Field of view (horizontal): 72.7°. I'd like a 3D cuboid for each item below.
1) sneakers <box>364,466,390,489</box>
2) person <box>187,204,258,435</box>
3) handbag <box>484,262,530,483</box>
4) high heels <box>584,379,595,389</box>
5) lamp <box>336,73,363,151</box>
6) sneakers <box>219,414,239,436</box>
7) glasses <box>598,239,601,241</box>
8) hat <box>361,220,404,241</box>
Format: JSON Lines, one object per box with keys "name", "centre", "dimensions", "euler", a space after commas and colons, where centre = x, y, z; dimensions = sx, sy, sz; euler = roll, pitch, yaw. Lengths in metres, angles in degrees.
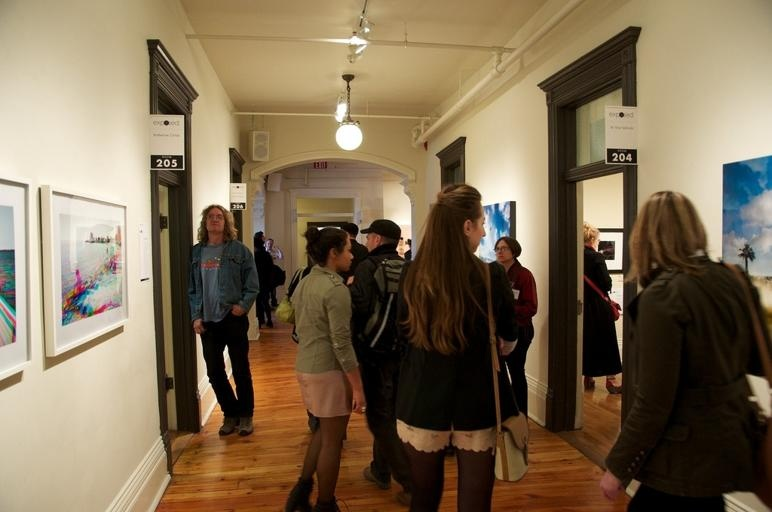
{"name": "sneakers", "centre": [-0.077, 1.787, 4.251], "dimensions": [0.091, 0.120, 0.259], "euler": [-3, 12, -25]}
{"name": "person", "centre": [-1.545, 0.625, 5.046], "dimensions": [0.623, 2.239, 0.402], "euler": [-2, 5, -22]}
{"name": "handbag", "centre": [0.615, 0.604, 2.698], "dimensions": [0.223, 1.110, 0.130], "euler": [0, 4, 12]}
{"name": "high heels", "centre": [2.423, 1.533, 6.239], "dimensions": [0.064, 0.095, 0.211], "euler": [-1, -10, 10]}
{"name": "lamp", "centre": [-0.506, -1.955, 7.098], "dimensions": [0.368, 0.996, 0.370], "euler": [-5, 8, -35]}
{"name": "sneakers", "centre": [-1.523, 1.669, 5.120], "dimensions": [0.086, 0.121, 0.265], "euler": [-2, -11, 3]}
{"name": "glasses", "centre": [3.235, -0.253, 7.927], "dimensions": [0.035, 0.037, 0.018], "euler": [-2, 3, -42]}
{"name": "hat", "centre": [-0.023, -0.205, 3.941], "dimensions": [0.215, 0.119, 0.160], "euler": [7, 5, 25]}
